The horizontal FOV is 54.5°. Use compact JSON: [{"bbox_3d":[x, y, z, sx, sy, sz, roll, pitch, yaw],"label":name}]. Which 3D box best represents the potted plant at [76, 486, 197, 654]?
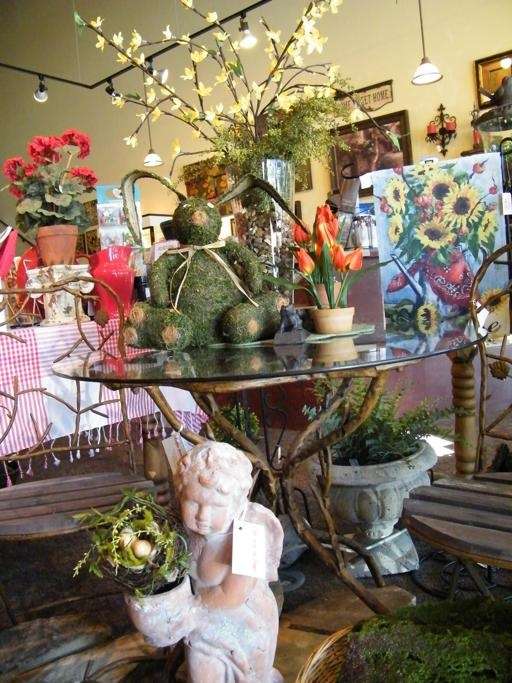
[{"bbox_3d":[-0.113,0.267,0.562,0.093,0.155,0.102,-20,16,-31],"label":"potted plant"}]

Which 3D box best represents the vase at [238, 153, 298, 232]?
[{"bbox_3d":[0.031,-0.385,1.209,0.088,0.131,0.089,-6,26,-5],"label":"vase"}]

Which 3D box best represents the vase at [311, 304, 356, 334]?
[{"bbox_3d":[0.141,-0.039,0.847,0.084,0.046,0.062,-10,7,-23],"label":"vase"}]

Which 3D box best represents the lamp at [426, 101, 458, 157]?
[{"bbox_3d":[1.656,-1.913,4.476,0.273,0.388,0.101,-5,21,10],"label":"lamp"}]

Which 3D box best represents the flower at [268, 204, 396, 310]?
[{"bbox_3d":[0.121,-0.139,0.897,0.209,0.168,0.226,2,9,13],"label":"flower"}]

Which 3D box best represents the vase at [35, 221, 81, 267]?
[{"bbox_3d":[-0.649,-0.303,1.641,0.136,0.131,0.137,-6,-6,42],"label":"vase"}]
